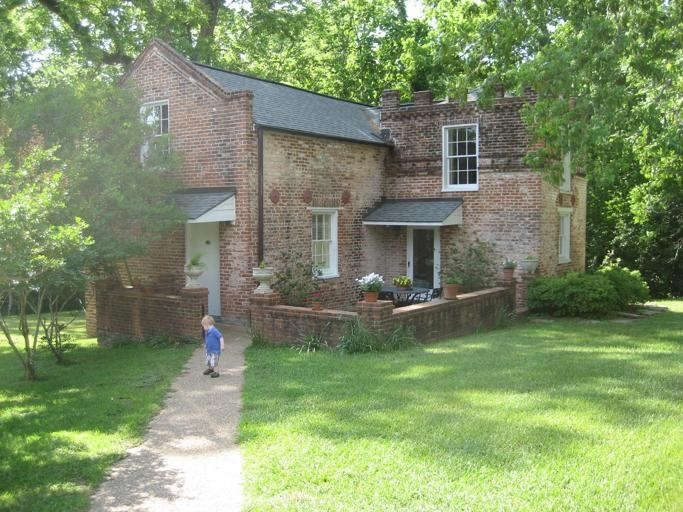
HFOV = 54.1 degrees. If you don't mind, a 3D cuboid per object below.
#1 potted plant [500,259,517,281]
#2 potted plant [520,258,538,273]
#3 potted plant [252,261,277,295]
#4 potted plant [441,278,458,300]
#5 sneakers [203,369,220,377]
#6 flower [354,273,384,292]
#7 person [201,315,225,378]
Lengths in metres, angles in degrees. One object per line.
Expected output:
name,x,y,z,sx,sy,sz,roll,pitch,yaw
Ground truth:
potted plant,5.140,0.488,20.798,0.572,0.789,0.574,2,-9,-3
potted plant,5.911,0.339,21.030,0.501,0.581,0.508,-1,9,8
potted plant,-1.890,0.608,17.412,0.758,1.051,0.752,1,-3,-18
potted plant,2.928,0.925,17.812,0.483,0.470,0.490,1,-6,0
sneakers,-2.656,2.428,13.698,0.355,0.155,0.134,7,3,21
flower,0.789,0.681,16.143,0.603,0.478,0.632,1,-2,-16
person,-2.780,2.021,14.417,0.506,1.402,0.645,18,-33,-38
